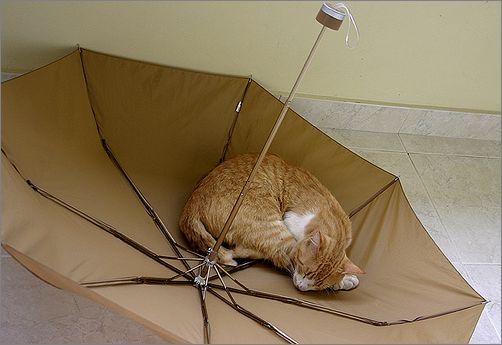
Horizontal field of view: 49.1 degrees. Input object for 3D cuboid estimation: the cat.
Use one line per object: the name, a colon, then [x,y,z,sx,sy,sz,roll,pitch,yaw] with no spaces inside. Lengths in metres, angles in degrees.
cat: [0.074,0.220,2.071,0.588,0.247,0.447,35,51,6]
